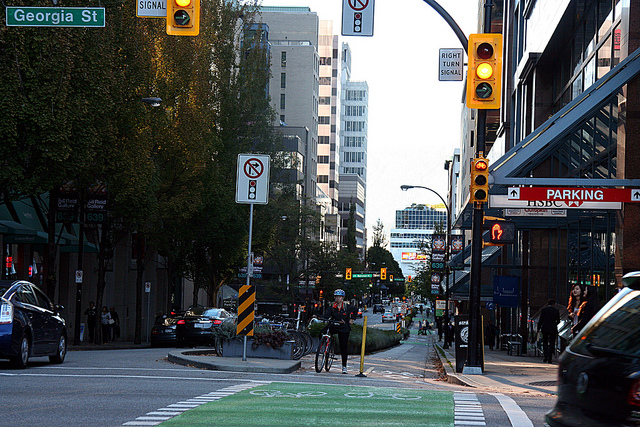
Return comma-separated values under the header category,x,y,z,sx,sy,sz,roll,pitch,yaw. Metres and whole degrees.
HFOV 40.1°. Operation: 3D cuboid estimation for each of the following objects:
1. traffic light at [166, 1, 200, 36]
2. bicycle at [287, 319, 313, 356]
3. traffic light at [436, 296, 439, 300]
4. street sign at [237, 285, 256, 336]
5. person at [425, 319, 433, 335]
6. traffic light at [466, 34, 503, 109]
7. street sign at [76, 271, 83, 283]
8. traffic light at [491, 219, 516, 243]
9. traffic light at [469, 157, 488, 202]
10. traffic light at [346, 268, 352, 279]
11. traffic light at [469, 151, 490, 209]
category,x,y,z,sx,sy,sz,roll,pitch,yaw
traffic light,-3.393,-4.831,21.754,0.795,1.223,0.123,1,-4,0
bicycle,-0.474,4.348,30.122,1.248,1.343,0.403,3,2,0
traffic light,9.742,6.928,72.749,0.112,0.388,0.370,9,-12,-8
street sign,-2.148,2.828,25.553,0.519,1.458,0.092,2,1,-27
person,11.034,11.624,90.317,1.030,1.570,0.544,-1,-2,10
traffic light,4.513,-3.925,24.162,0.908,2.239,0.625,0,-8,9
street sign,-10.970,2.856,40.023,0.243,0.482,0.528,5,-10,-23
traffic light,7.356,0.731,35.446,0.803,0.834,0.306,0,-4,3
traffic light,4.540,-0.986,25.120,0.491,1.283,0.611,0,-8,9
traffic light,2.820,5.908,87.599,0.717,1.502,0.734,0,0,-5
traffic light,4.558,-0.972,25.156,0.502,1.596,0.700,1,-8,7
